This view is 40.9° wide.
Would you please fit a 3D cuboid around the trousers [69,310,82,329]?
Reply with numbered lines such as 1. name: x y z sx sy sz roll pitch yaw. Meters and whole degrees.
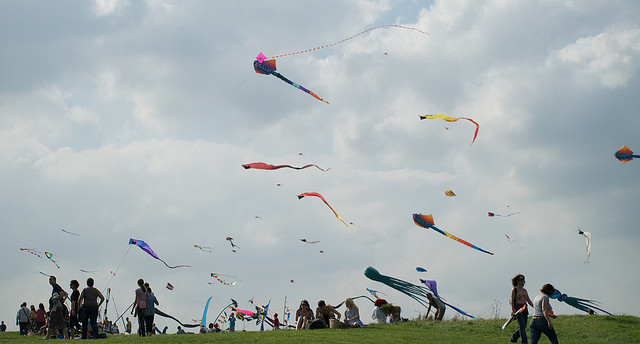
1. trousers: -13.999 8.503 49.275 0.553 0.972 1.290 0 -23 -11

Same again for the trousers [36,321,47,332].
1. trousers: -17.285 9.541 53.303 0.481 0.792 0.588 1 -9 -35

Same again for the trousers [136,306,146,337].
1. trousers: -10.238 8.589 49.364 0.499 1.679 0.958 -1 -23 -8

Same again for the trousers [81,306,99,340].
1. trousers: -12.928 8.567 48.479 0.858 1.723 1.549 2 -23 -15
